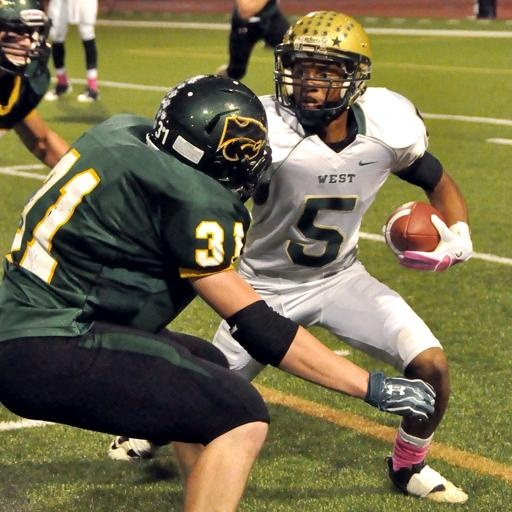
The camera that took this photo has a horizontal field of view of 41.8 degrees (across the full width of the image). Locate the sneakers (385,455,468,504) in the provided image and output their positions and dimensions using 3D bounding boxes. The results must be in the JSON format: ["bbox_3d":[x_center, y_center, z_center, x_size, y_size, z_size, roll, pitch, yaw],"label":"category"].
[{"bbox_3d":[0.510,0.679,2.051,0.228,0.071,0.090,8,19,34],"label":"sneakers"}]

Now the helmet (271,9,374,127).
[{"bbox_3d":[0.256,-0.646,2.287,0.381,0.304,0.389,10,22,17],"label":"helmet"}]

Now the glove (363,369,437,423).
[{"bbox_3d":[0.331,0.331,1.596,0.223,0.069,0.093,20,41,-19],"label":"glove"}]

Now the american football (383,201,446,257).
[{"bbox_3d":[0.549,-0.091,2.312,0.224,0.161,0.249,9,13,27],"label":"american football"}]

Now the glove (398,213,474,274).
[{"bbox_3d":[0.614,-0.043,2.248,0.276,0.071,0.179,-18,5,-17],"label":"glove"}]

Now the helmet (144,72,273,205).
[{"bbox_3d":[-0.121,-0.324,1.672,0.355,0.229,0.262,10,35,-11],"label":"helmet"}]
